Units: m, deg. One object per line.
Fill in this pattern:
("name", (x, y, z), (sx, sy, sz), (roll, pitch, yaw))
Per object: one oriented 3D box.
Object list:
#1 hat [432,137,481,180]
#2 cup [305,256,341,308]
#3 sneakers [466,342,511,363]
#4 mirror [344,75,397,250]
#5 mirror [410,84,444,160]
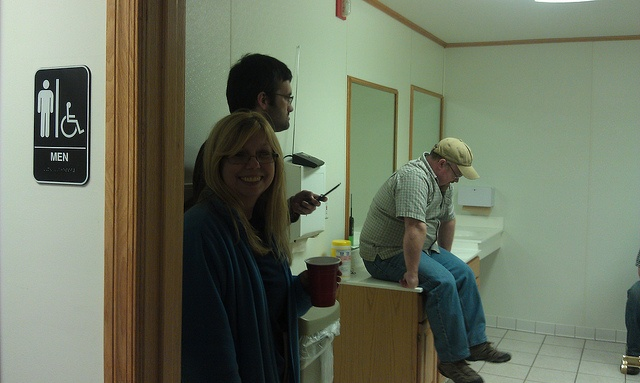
("hat", (0.820, -0.191, 3.345), (0.295, 0.161, 0.186), (32, 16, 4))
("cup", (0.011, 0.363, 2.258), (0.191, 0.197, 0.185), (0, -7, 0))
("sneakers", (0.985, 0.979, 3.333), (0.330, 0.141, 0.112), (-2, -6, 14))
("mirror", (0.353, -0.419, 3.725), (0.432, 0.577, 0.019), (5, -6, -37))
("mirror", (0.805, -0.529, 4.254), (0.024, 0.464, 0.635), (3, 10, 26))
